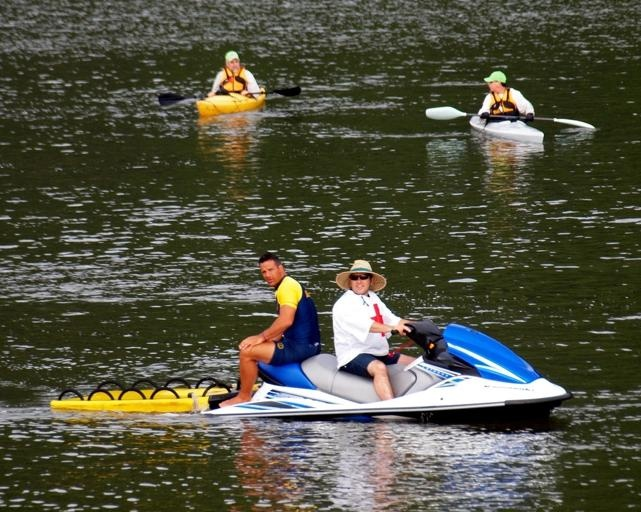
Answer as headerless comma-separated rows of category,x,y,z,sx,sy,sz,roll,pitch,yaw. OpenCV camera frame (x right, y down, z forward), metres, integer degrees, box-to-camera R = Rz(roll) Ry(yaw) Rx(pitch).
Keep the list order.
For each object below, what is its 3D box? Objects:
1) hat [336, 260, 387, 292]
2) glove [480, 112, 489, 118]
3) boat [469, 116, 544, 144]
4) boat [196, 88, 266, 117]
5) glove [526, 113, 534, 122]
hat,0.499,0.155,13.145,0.565,0.483,0.177,2,57,1
glove,3.887,-3.280,26.779,0.182,0.072,0.161,-19,37,-33
boat,4.419,-2.930,26.882,0.649,0.227,1.765,-13,18,-37
boat,-2.279,-4.030,30.344,0.761,0.302,2.184,-1,2,44
glove,4.756,-3.134,25.924,0.190,0.072,0.174,0,45,8
